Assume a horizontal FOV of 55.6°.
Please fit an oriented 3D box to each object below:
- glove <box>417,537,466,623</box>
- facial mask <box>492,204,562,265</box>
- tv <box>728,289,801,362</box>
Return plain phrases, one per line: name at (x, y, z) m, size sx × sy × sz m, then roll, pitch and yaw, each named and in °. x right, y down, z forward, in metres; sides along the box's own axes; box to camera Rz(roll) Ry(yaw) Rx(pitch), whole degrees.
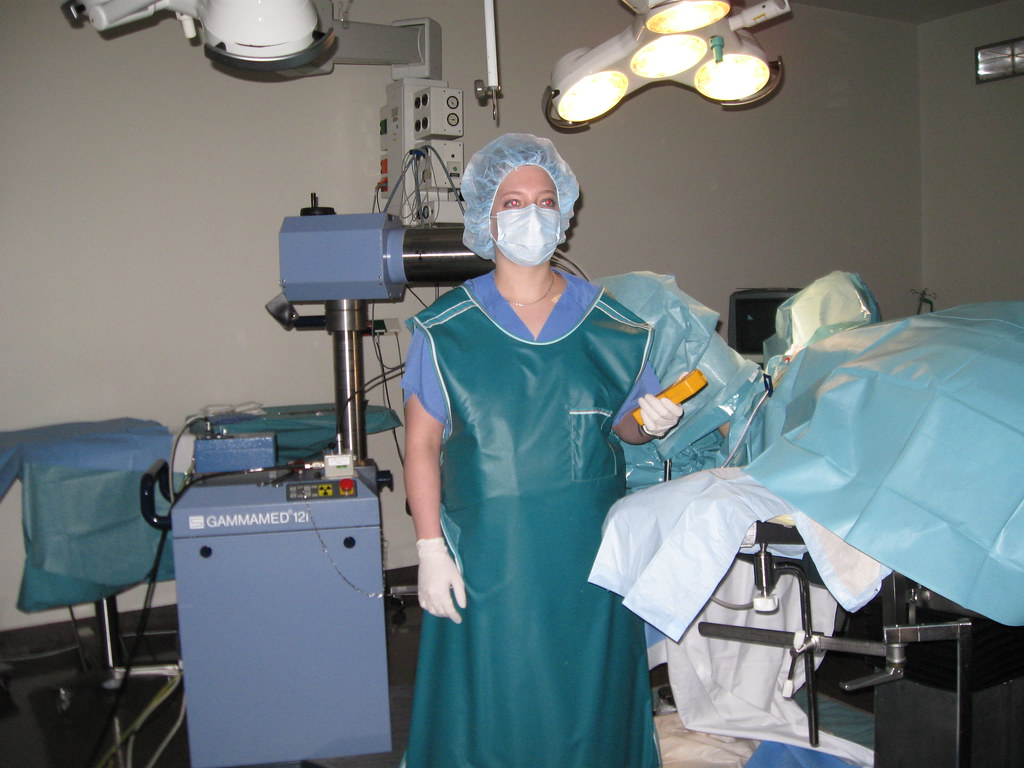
glove at (-0.189, 0.539, 2.674) m, size 0.128 × 0.246 × 0.075 m, roll -3°, pitch 7°, yaw -5°
facial mask at (0.049, -0.418, 2.718) m, size 0.142 × 0.153 × 0.165 m, roll -1°, pitch 0°, yaw -8°
tv at (1.031, -0.248, 4.000) m, size 0.330 × 0.375 × 0.191 m, roll 1°, pitch 9°, yaw 27°
